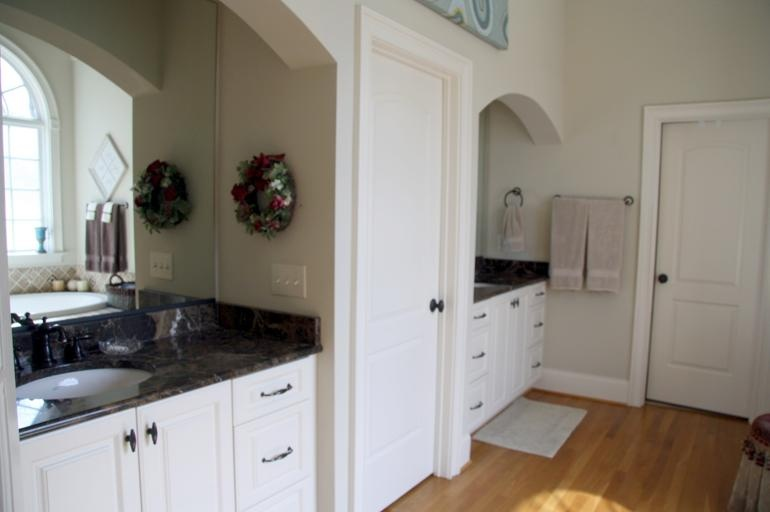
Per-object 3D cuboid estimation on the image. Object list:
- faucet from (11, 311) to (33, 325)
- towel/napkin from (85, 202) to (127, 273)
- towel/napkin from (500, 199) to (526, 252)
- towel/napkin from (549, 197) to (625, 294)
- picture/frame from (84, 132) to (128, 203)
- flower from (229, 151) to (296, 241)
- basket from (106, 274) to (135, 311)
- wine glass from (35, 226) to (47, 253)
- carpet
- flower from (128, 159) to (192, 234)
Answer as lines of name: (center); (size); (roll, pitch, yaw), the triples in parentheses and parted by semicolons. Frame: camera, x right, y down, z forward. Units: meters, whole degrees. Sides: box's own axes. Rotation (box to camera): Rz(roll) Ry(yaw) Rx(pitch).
faucet: (-1.778, 0.304, 2.662); (0.086, 0.061, 0.055); (-9, 15, -38)
towel/napkin: (-1.485, -0.103, 2.892); (0.209, 0.363, 0.092); (-5, 13, -25)
towel/napkin: (1.218, -0.258, 5.127); (0.223, 0.478, 0.235); (2, 12, 11)
towel/napkin: (1.812, -0.111, 4.788); (0.746, 1.015, 0.141); (3, 4, 24)
picture/frame: (-1.474, -0.478, 2.884); (0.058, 0.341, 0.179); (8, 14, 33)
flower: (-0.665, -0.338, 2.955); (0.408, 0.450, 0.154); (11, 14, 42)
basket: (-1.433, 0.175, 2.961); (0.165, 0.176, 0.127); (8, 12, 3)
wine glass: (-1.734, -0.084, 2.739); (0.050, 0.136, 0.019); (-5, 13, -24)
carpet: (1.203, 1.363, 4.409); (0.624, 0.051, 1.023); (9, 15, 36)
flower: (-1.276, -0.360, 3.113); (0.167, 0.425, 0.381); (-15, -19, 33)
